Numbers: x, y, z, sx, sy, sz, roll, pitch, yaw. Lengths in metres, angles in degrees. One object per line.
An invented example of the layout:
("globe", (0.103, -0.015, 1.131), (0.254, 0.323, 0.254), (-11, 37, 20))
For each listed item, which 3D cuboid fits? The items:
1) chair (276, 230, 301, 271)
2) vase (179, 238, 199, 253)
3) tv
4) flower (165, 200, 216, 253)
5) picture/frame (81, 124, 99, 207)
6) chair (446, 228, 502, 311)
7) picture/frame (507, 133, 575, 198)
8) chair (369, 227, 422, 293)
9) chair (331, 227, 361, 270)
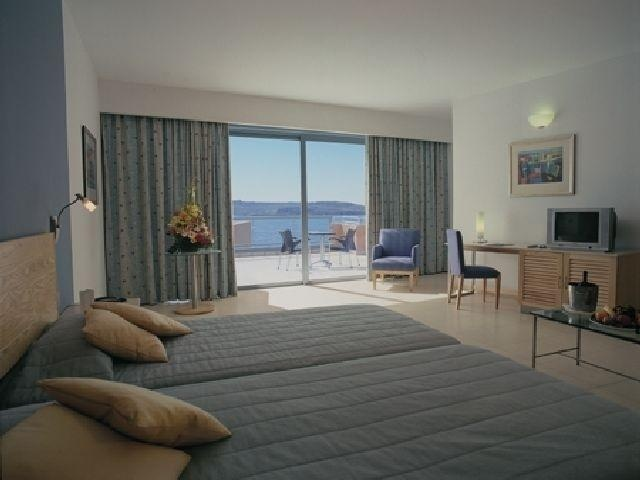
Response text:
("chair", (-0.550, 0.210, 8.190), (0.505, 0.673, 0.486), (6, -7, -24))
("vase", (-1.688, 0.074, 5.552), (0.195, 0.145, 0.179), (0, 1, -7))
("tv", (3.109, -0.127, 5.189), (0.661, 0.513, 0.356), (2, 8, 40))
("flower", (-1.693, -0.162, 5.922), (0.633, 0.814, 0.628), (1, 0, 7))
("picture/frame", (-2.480, -0.774, 4.648), (0.056, 0.844, 1.018), (-5, 10, -20))
("chair", (2.062, 0.367, 5.826), (0.687, 0.982, 0.687), (1, 4, 22))
("picture/frame", (2.962, -0.981, 5.719), (0.067, 0.944, 0.908), (3, -3, -38))
("chair", (1.277, 0.296, 7.222), (0.711, 1.000, 0.805), (0, 0, 18))
("chair", (0.591, 0.190, 8.883), (0.676, 1.049, 0.773), (1, -1, -2))
